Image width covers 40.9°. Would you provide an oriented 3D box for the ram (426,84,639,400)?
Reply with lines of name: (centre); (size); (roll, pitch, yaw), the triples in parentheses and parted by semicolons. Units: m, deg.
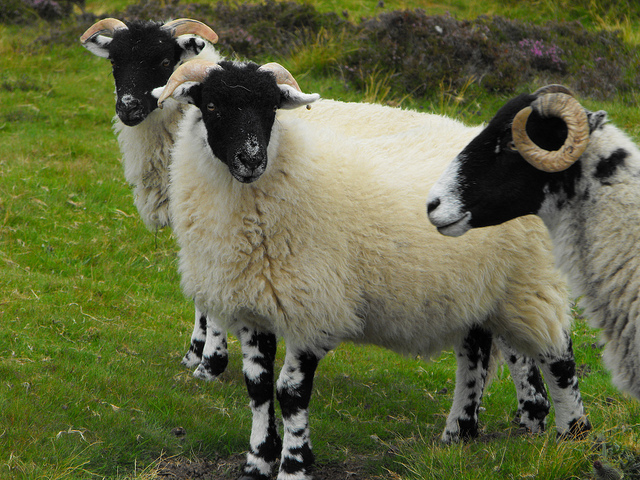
ram: (1.775, -0.493, 7.859); (2.953, 2.255, 1.251); (9, 6, -4)
